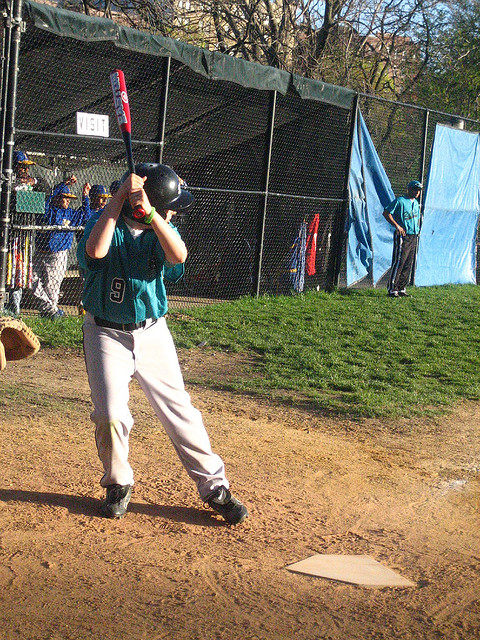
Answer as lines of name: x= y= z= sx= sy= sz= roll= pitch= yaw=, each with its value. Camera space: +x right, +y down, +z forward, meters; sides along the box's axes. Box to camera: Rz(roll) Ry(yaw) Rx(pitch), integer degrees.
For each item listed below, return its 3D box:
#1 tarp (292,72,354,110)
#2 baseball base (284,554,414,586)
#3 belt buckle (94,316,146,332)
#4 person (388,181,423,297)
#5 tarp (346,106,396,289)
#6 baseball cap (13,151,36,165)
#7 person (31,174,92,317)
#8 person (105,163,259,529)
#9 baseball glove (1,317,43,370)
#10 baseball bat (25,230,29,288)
tarp: x=1.166 y=-3.157 z=10.293 sx=0.544 sy=0.583 sz=0.848 roll=13 pitch=11 yaw=43
baseball base: x=0.458 y=1.076 z=3.211 sx=0.509 sy=0.022 sz=0.278 roll=3 pitch=11 yaw=-8
belt buckle: x=-0.547 y=0.024 z=3.436 sx=0.225 sy=0.053 sz=0.050 roll=3 pitch=11 yaw=-8
person: x=2.523 y=-1.238 z=11.378 sx=0.301 sy=1.748 sz=0.702 roll=11 pitch=13 yaw=24
tarp: x=1.977 y=-1.834 z=11.481 sx=0.335 sy=2.674 sz=1.057 roll=16 pitch=16 yaw=42
baseball cap: x=-2.159 y=-1.636 z=7.491 sx=0.165 sy=0.125 sz=0.594 roll=2 pitch=11 yaw=-16
person: x=-1.902 y=-0.794 z=7.968 sx=0.551 sy=1.470 sz=0.860 roll=4 pitch=11 yaw=-8
person: x=-0.284 y=0.133 z=3.543 sx=0.641 sy=1.684 sz=0.832 roll=16 pitch=15 yaw=42
baseball glove: x=-0.985 y=0.093 z=3.388 sx=0.156 sy=0.254 sz=0.344 roll=2 pitch=11 yaw=-16
baseball bat: x=-2.149 y=-0.612 z=7.596 sx=0.040 sy=0.551 sz=0.176 roll=2 pitch=12 yaw=-16
